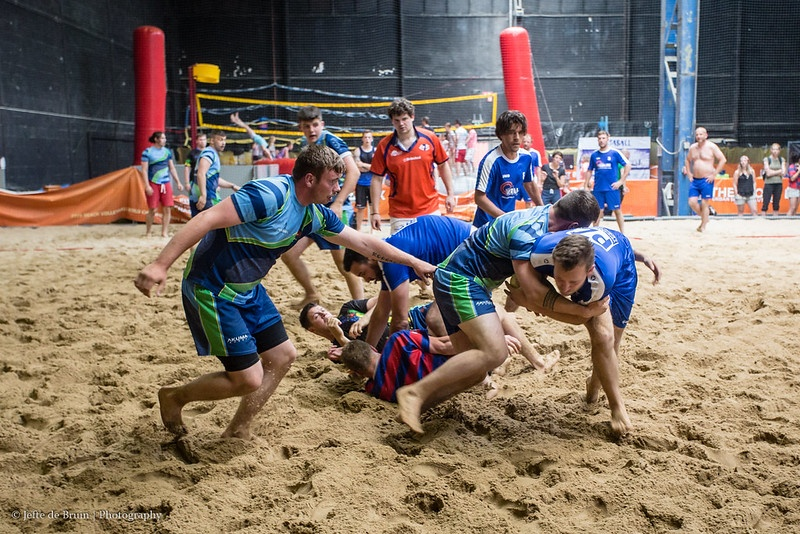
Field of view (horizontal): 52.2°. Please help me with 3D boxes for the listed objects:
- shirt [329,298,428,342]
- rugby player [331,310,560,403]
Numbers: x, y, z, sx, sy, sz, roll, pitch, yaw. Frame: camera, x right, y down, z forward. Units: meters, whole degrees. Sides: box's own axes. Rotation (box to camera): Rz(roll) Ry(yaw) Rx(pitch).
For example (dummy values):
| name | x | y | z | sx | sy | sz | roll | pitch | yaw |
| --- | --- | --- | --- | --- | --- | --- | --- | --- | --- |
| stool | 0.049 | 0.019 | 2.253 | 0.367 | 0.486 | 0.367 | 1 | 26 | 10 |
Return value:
| name | x | y | z | sx | sy | sz | roll | pitch | yaw |
| --- | --- | --- | --- | --- | --- | --- | --- | --- | --- |
| shirt | -0.164 | 0.559 | 8.848 | 1.122 | 0.441 | 0.431 | -10 | 10 | 2 |
| rugby player | 0.410 | 0.923 | 8.386 | 1.690 | 0.620 | 0.995 | -8 | -28 | -38 |
